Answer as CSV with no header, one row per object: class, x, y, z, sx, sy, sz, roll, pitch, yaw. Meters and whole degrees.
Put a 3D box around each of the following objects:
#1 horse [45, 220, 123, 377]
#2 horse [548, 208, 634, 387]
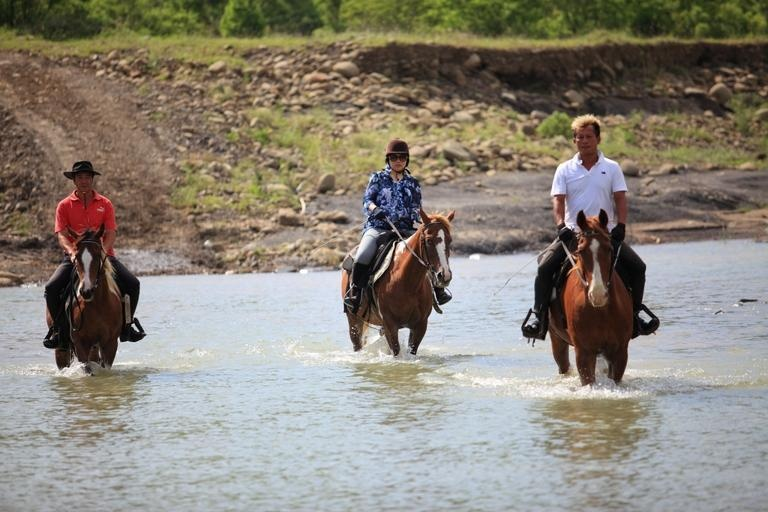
horse,-10.572,1.567,53.265,2.205,5.361,1.275,-4,7,-9
horse,7.211,1.478,51.252,2.637,6.199,1.122,1,8,28
